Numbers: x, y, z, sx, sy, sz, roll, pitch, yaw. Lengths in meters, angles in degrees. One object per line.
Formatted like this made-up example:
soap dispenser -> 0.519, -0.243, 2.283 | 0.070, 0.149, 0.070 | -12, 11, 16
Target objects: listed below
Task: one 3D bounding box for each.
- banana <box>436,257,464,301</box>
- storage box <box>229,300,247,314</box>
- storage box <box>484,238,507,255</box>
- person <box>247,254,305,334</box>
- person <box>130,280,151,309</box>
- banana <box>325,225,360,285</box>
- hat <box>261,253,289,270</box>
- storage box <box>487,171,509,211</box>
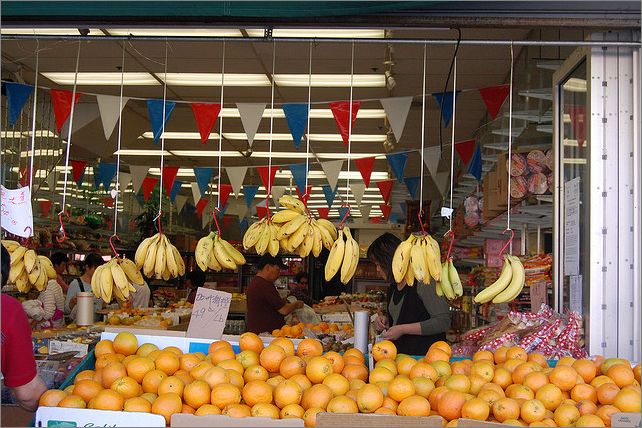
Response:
banana -> 0.931, 0.449, 4.264 | 0.109, 0.332, 0.153 | 12, -22, -43
storage box -> -1.496, 1.686, 10.626 | 0.265, 0.272, 0.433 | 2, 0, -12
storage box -> 2.549, 0.471, 8.690 | 0.275, 0.197, 0.294 | 1, -1, 11
person -> -0.596, 1.074, 7.864 | 0.648, 1.538, 0.593 | 6, -33, -14
person -> -2.326, 1.055, 7.605 | 0.234, 0.214, 0.732 | 11, 10, -12
banana -> 0.171, 0.343, 4.323 | 0.207, 0.444, 0.152 | 4, -19, 23
hat -> -0.510, 0.544, 6.652 | 0.287, 0.181, 0.216 | 0, -6, -9
storage box -> 1.980, -0.256, 6.590 | 0.219, 0.427, 0.430 | 1, -2, 6
